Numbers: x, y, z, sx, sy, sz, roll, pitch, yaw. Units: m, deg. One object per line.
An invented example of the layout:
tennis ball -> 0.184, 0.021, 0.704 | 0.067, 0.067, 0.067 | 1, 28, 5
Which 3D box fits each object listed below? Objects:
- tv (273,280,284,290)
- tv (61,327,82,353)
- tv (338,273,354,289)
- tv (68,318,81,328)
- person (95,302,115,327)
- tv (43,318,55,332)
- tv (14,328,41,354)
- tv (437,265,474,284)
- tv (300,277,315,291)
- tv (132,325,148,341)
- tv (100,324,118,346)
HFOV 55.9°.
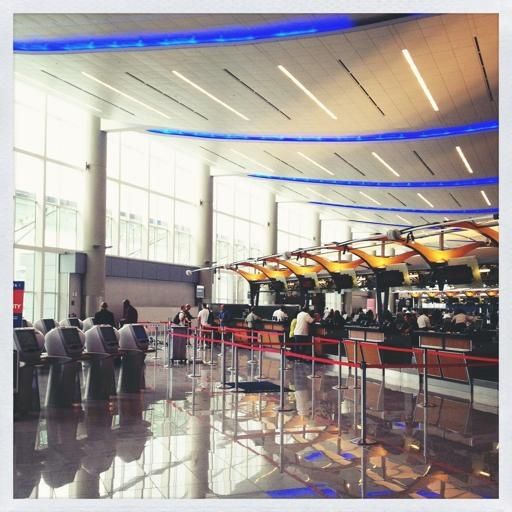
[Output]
tv -> 1.105, 1.440, 23.221 | 0.136, 0.503, 0.709 | 1, -3, -45
tv -> -3.434, 1.584, 9.016 | 0.393, 0.492, 0.339 | 0, -3, -25
tv -> 3.363, 0.944, 17.941 | 0.284, 0.493, 0.523 | 11, -13, -36
tv -> -5.180, 1.982, 13.877 | 0.359, 0.368, 1.338 | 0, -3, -20
person -> -4.265, 1.630, 13.603 | 0.527, 0.611, 1.224 | 0, -3, -19
tv -> -5.791, 1.951, 13.495 | 0.261, 0.332, 0.560 | -1, -2, 7
tv -> -3.918, 1.467, 8.268 | 0.283, 0.378, 0.412 | -37, -23, 26
tv -> 5.383, 0.515, 13.113 | 0.216, 0.528, 1.134 | 0, -3, -21
tv -> 2.244, 1.226, 20.835 | 0.605, 0.519, 0.147 | 4, -3, 42
tv -> -2.525, 1.713, 10.669 | 0.226, 0.376, 0.406 | -3, -3, 34
tv -> -2.969, 1.645, 9.882 | 0.257, 0.428, 0.418 | -3, -3, 40
